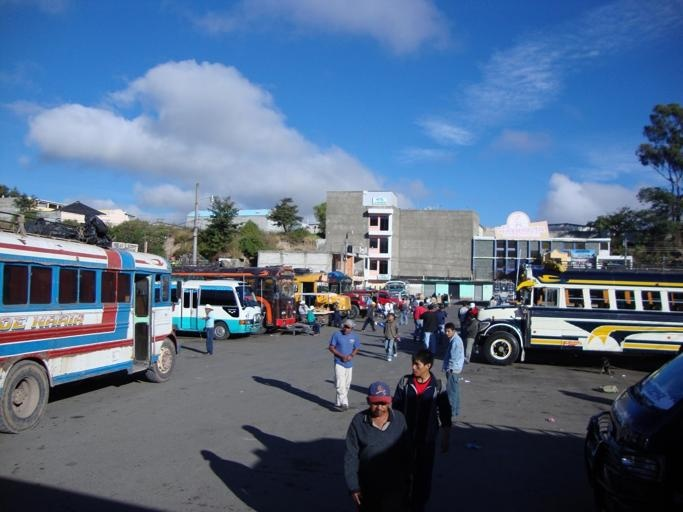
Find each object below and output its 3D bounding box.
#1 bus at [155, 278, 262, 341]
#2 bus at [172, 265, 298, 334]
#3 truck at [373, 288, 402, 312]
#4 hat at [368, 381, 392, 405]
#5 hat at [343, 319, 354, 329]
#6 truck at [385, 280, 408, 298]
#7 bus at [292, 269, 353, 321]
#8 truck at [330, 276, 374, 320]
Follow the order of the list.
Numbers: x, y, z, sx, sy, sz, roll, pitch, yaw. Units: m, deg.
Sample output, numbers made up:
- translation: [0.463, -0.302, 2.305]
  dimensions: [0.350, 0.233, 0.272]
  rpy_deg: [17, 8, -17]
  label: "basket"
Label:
- translation: [-5.657, 2.353, 24.914]
  dimensions: [4.458, 2.262, 2.131]
  rpy_deg: [-1, 1, 15]
  label: "bus"
- translation: [-6.322, 2.084, 28.154]
  dimensions: [6.969, 3.724, 2.818]
  rpy_deg: [-1, 2, 23]
  label: "bus"
- translation: [3.456, 3.477, 42.556]
  dimensions: [2.322, 1.489, 1.479]
  rpy_deg: [-5, -4, 41]
  label: "truck"
- translation: [0.448, 1.659, 6.392]
  dimensions: [0.245, 0.215, 0.377]
  rpy_deg: [1, 4, -2]
  label: "hat"
- translation: [0.162, 1.598, 12.451]
  dimensions: [0.232, 0.129, 0.364]
  rpy_deg: [4, 4, -1]
  label: "hat"
- translation: [5.540, 3.326, 53.611]
  dimensions: [1.339, 1.493, 2.351]
  rpy_deg: [-1, -9, 7]
  label: "truck"
- translation: [-1.383, 2.359, 34.362]
  dimensions: [3.459, 2.122, 2.732]
  rpy_deg: [-2, -3, 31]
  label: "bus"
- translation: [0.604, 2.812, 40.004]
  dimensions: [3.653, 2.341, 2.233]
  rpy_deg: [1, 0, 21]
  label: "truck"
